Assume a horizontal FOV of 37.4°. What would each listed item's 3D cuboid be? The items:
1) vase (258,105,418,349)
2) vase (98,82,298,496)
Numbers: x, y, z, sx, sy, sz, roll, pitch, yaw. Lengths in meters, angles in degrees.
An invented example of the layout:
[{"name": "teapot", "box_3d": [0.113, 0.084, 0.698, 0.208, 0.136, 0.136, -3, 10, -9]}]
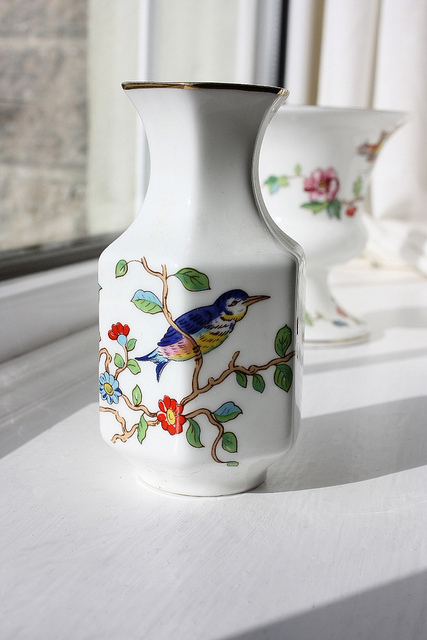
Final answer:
[{"name": "vase", "box_3d": [0.104, -0.098, 0.745, 0.238, 0.241, 0.238, -2, 5, 16]}, {"name": "vase", "box_3d": [-0.007, -0.009, 0.352, 0.110, 0.232, 0.067, -1, 13, -10]}]
